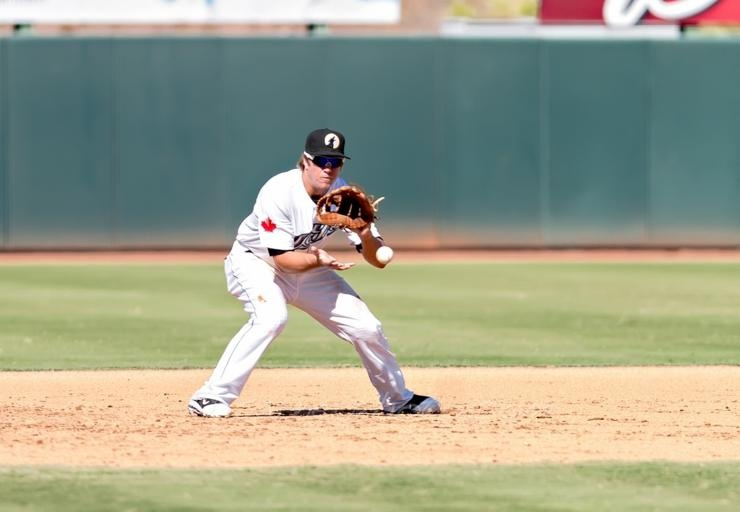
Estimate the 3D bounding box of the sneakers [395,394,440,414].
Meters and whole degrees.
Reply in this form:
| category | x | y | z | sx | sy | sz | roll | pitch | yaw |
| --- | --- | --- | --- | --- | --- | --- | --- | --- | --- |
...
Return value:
| category | x | y | z | sx | sy | sz | roll | pitch | yaw |
| --- | --- | --- | --- | --- | --- | --- | --- | --- | --- |
| sneakers | 0.467 | 1.488 | 13.428 | 0.455 | 0.156 | 0.176 | -3 | -1 | 2 |

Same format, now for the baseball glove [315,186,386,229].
| category | x | y | z | sx | sy | sz | roll | pitch | yaw |
| --- | --- | --- | --- | --- | --- | --- | --- | --- | --- |
| baseball glove | -0.242 | -0.466 | 13.095 | 0.576 | 0.433 | 0.290 | 2 | 4 | -2 |

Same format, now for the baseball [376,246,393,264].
| category | x | y | z | sx | sy | sz | roll | pitch | yaw |
| --- | --- | --- | --- | --- | --- | --- | --- | --- | --- |
| baseball | 0.124 | -0.008 | 13.167 | 0.146 | 0.176 | 0.232 | 3 | 4 | 0 |

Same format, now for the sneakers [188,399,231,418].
| category | x | y | z | sx | sy | sz | roll | pitch | yaw |
| --- | --- | --- | --- | --- | --- | --- | --- | --- | --- |
| sneakers | -1.573 | 1.483 | 13.140 | 0.462 | 0.175 | 0.169 | 3 | 12 | 18 |
